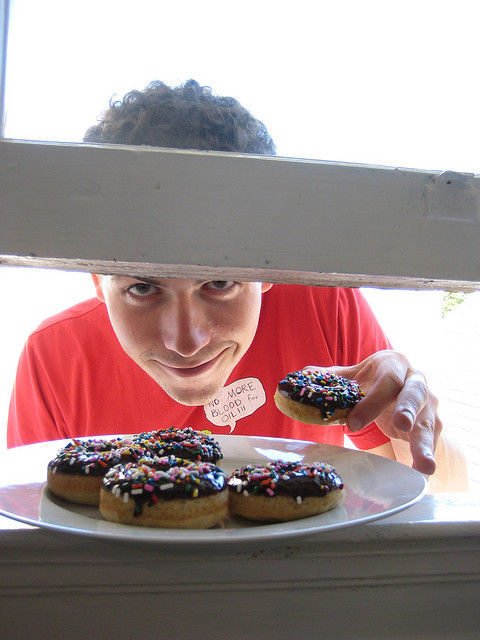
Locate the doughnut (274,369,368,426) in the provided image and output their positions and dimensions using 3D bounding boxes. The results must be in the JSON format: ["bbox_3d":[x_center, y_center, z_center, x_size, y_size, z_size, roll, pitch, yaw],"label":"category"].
[{"bbox_3d":[0.139,0.131,1.285,0.175,0.052,0.149,15,20,23],"label":"doughnut"}]

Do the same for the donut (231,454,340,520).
[{"bbox_3d":[0.058,0.236,1.025,0.139,0.057,0.163,1,12,-23],"label":"donut"}]

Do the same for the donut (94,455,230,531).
[{"bbox_3d":[-0.100,0.234,0.983,0.173,0.054,0.159,5,11,-2],"label":"donut"}]
